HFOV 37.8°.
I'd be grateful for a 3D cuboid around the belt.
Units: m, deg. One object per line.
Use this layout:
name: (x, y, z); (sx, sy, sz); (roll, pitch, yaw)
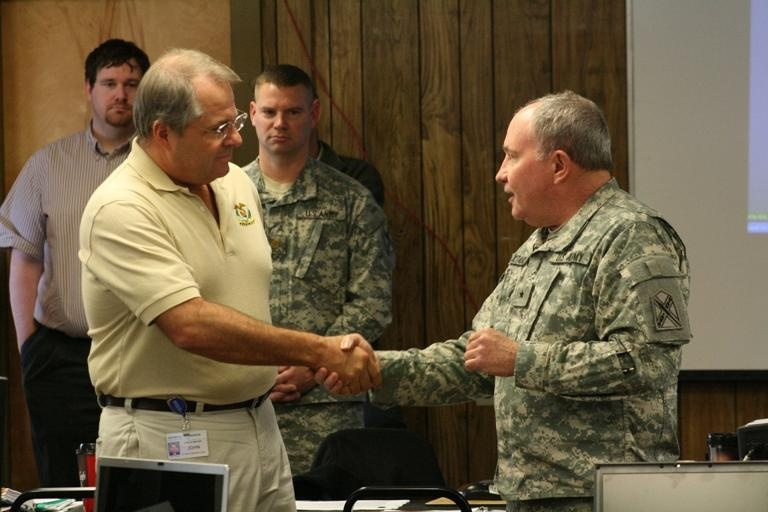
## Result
belt: (-0.709, 0.553, 4.218); (0.527, 0.069, 0.102); (-1, -6, -10)
